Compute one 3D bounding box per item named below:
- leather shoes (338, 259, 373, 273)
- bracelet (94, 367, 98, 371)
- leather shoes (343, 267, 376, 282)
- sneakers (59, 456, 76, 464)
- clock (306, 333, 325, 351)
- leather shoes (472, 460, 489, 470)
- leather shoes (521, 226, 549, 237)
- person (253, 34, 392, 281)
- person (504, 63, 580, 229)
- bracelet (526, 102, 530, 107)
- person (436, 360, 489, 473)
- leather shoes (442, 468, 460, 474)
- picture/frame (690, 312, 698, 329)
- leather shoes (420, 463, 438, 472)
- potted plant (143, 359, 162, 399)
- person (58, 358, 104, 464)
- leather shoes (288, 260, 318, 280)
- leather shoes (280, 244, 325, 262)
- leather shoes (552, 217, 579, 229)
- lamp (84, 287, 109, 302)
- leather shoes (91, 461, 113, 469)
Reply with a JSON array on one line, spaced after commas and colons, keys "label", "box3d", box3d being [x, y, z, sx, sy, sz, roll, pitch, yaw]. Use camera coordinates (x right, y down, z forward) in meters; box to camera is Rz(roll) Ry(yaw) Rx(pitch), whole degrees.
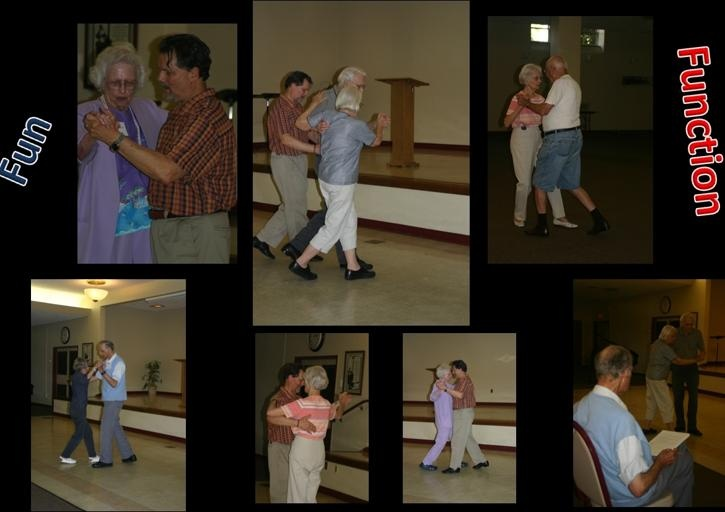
[{"label": "leather shoes", "box3d": [-0.036, 0.082, 4.345, 0.340, 0.126, 0.112, 0, 9, 0]}, {"label": "bracelet", "box3d": [-2.515, 1.049, 4.754, 0.037, 0.031, 0.020, -1, 2, 2]}, {"label": "leather shoes", "box3d": [-0.028, 0.159, 4.246, 0.276, 0.106, 0.098, -2, 0, -2]}, {"label": "sneakers", "box3d": [-2.600, 1.773, 4.452, 0.122, 0.049, 0.042, 7, 24, -28]}, {"label": "clock", "box3d": [-0.382, 0.696, 4.113, 0.133, 0.143, 0.055, 2, 3, -5]}, {"label": "leather shoes", "box3d": [0.952, 1.655, 4.051, 0.159, 0.063, 0.052, -4, 11, -3]}, {"label": "leather shoes", "box3d": [1.483, -0.201, 4.323, 0.228, 0.079, 0.053, 1, 3, -20]}, {"label": "person", "box3d": [-0.492, -0.747, 4.383, 0.828, 1.686, 0.236, 2, 3, -2]}, {"label": "person", "box3d": [1.397, -0.941, 4.414, 0.347, 1.398, 0.197, 0, 3, -40]}, {"label": "bracelet", "box3d": [1.437, -1.300, 4.393, 0.035, 0.035, 0.011, 29, 11, 38]}, {"label": "person", "box3d": [0.829, 1.289, 4.058, 0.357, 0.886, 0.153, 2, 3, 13]}, {"label": "leather shoes", "box3d": [0.711, 1.706, 4.068, 0.138, 0.052, 0.051, 3, 1, 2]}, {"label": "picture/frame", "box3d": [3.198, 0.606, 4.888, 0.149, 0.171, 0.012, -6, 6, -27]}, {"label": "leather shoes", "box3d": [0.529, 1.679, 4.089, 0.153, 0.062, 0.055, 0, 7, 5]}, {"label": "potted plant", "box3d": [-2.072, 1.187, 4.962, 0.160, 0.343, 0.231, 1, 3, -23]}, {"label": "person", "box3d": [-2.591, 1.427, 4.639, 0.296, 0.898, 0.516, 0, 3, -26]}, {"label": "leather shoes", "box3d": [-0.509, 0.137, 4.339, 0.279, 0.120, 0.109, 26, 3, -23]}, {"label": "leather shoes", "box3d": [-0.519, -0.020, 4.432, 0.375, 0.152, 0.121, 14, 31, -24]}, {"label": "leather shoes", "box3d": [1.749, -0.278, 4.370, 0.233, 0.096, 0.077, 6, 25, 22]}, {"label": "lamp", "box3d": [-2.283, 0.320, 4.329, 0.129, 0.056, 0.128, -10, -23, 21]}, {"label": "leather shoes", "box3d": [-2.386, 1.887, 4.628, 0.155, 0.061, 0.059, 7, -11, -6]}]
